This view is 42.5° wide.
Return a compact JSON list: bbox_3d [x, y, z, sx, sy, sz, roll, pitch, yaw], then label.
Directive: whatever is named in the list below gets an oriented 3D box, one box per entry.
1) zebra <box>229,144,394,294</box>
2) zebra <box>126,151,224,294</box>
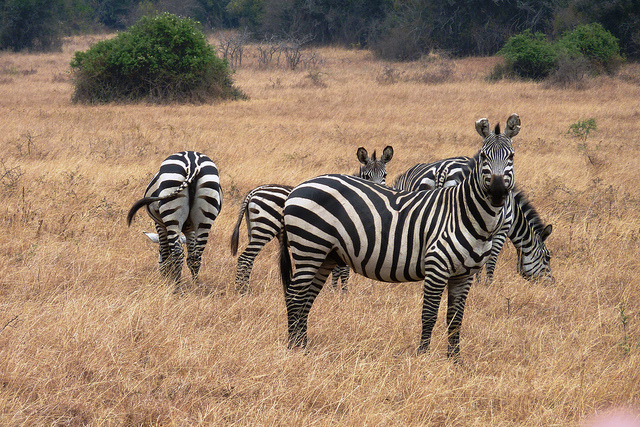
[{"bbox_3d":[-0.075,0.286,21.011,4.791,4.093,1.471,0,-3,-25],"label":"zebra"},{"bbox_3d":[-3.463,-0.063,19.805,1.488,2.343,4.127,1,-16,-11],"label":"zebra"}]
